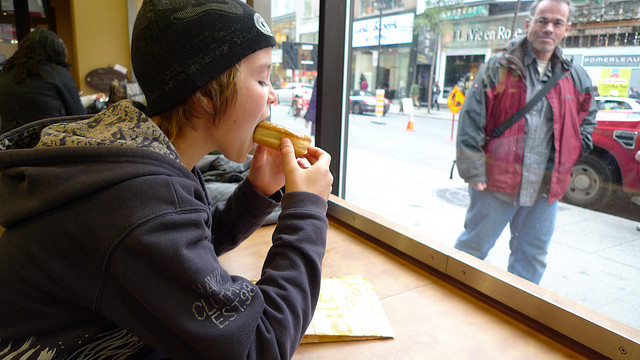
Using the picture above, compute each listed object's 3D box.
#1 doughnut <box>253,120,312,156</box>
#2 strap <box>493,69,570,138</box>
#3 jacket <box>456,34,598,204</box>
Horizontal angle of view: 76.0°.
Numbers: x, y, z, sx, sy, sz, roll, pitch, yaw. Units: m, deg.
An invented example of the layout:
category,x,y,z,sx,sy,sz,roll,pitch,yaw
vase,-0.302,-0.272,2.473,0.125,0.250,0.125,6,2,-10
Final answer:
category,x,y,z,sx,sy,sz,roll,pitch,yaw
doughnut,-0.139,-0.161,1.528,0.201,0.070,0.098,20,7,-16
strap,0.880,-0.311,1.885,0.074,0.536,0.079,-17,65,-39
jacket,0.980,-0.303,1.887,0.604,0.670,0.370,4,20,10
